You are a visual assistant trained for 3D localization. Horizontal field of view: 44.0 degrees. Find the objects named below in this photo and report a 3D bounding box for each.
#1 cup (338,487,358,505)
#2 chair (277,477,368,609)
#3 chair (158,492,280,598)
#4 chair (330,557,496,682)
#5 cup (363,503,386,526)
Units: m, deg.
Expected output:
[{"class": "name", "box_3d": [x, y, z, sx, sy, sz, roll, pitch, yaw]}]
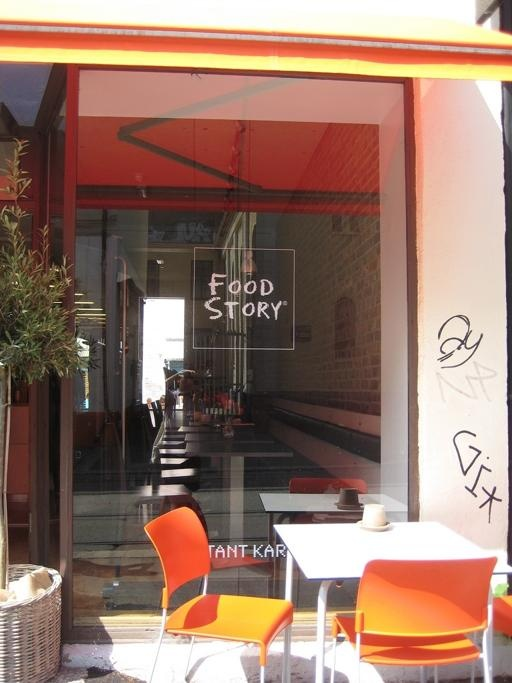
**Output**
[{"class": "cup", "box_3d": [0.443, 0.741, 3.060, 0.080, 0.053, 0.082, 2, 0, 0]}, {"class": "chair", "box_3d": [0.392, 0.911, 3.223, 0.335, 0.357, 0.239, -4, 9, 5]}, {"class": "chair", "box_3d": [-0.163, 0.980, 3.351, 0.540, 0.796, 0.400, -5, -2, 3]}, {"class": "chair", "box_3d": [0.533, 0.914, 2.110, 0.549, 0.494, 0.416, -2, -2, 6]}, {"class": "cup", "box_3d": [0.498, 0.725, 2.687, 0.083, 0.088, 0.085, -1, -3, 0]}]
